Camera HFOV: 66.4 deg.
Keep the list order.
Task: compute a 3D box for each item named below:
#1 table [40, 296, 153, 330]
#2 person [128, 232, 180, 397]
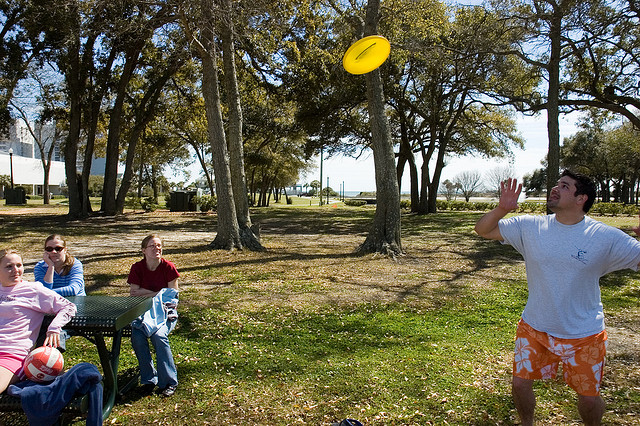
[{"bbox_3d":[-3.372,1.520,7.514,1.315,0.244,0.948,-2,13,18],"label":"table"},{"bbox_3d":[-2.553,1.612,8.162,0.813,2.341,1.163,0,0,-42],"label":"person"}]
